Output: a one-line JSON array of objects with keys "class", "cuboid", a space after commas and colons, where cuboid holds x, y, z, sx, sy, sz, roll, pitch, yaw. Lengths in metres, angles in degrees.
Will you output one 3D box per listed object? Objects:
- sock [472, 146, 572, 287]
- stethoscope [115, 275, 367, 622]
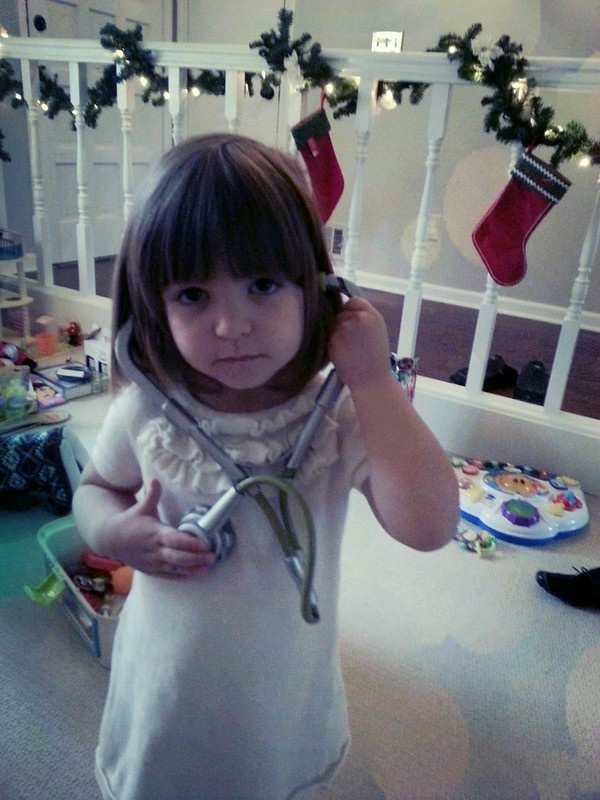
[{"class": "sock", "cuboid": [0.545, -0.449, 1.480, 0.193, 0.344, 0.157, 14, 26, 15]}, {"class": "stethoscope", "cuboid": [-0.070, 0.019, 0.476, 0.208, 0.236, 0.187, 8, 25, 3]}]
